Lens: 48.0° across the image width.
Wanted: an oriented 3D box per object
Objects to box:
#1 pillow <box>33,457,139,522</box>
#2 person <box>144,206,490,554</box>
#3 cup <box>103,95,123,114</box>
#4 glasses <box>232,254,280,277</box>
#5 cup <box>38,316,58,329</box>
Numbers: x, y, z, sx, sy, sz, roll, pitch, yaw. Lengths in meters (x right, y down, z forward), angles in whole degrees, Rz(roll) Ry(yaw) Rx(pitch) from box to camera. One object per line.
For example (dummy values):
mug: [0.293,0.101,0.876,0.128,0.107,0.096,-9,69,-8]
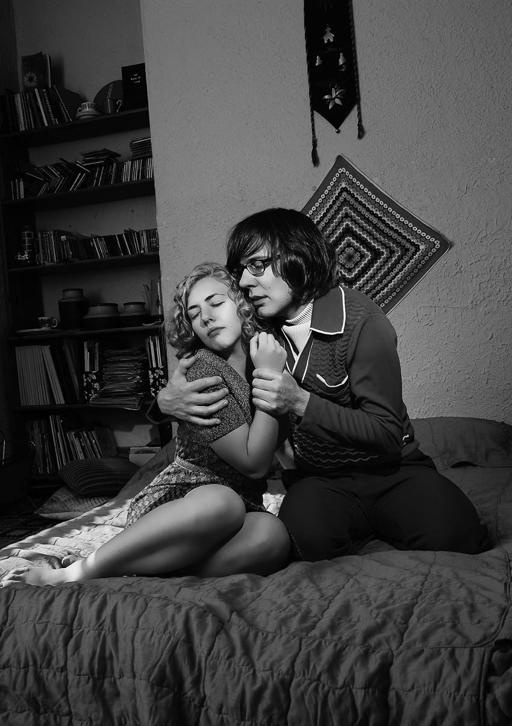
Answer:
pillow: [-0.710,0.529,2.407,0.356,0.115,0.384,-19,9,25]
person: [0.168,0.122,1.283,0.621,0.909,0.425,-6,0,36]
cup: [-0.834,-1.509,3.357,0.103,0.120,0.099,-2,2,0]
glasses: [-0.005,-0.204,1.217,0.062,0.020,0.065,-6,17,47]
cup: [-1.285,-0.246,3.552,0.136,0.093,0.089,1,3,9]
